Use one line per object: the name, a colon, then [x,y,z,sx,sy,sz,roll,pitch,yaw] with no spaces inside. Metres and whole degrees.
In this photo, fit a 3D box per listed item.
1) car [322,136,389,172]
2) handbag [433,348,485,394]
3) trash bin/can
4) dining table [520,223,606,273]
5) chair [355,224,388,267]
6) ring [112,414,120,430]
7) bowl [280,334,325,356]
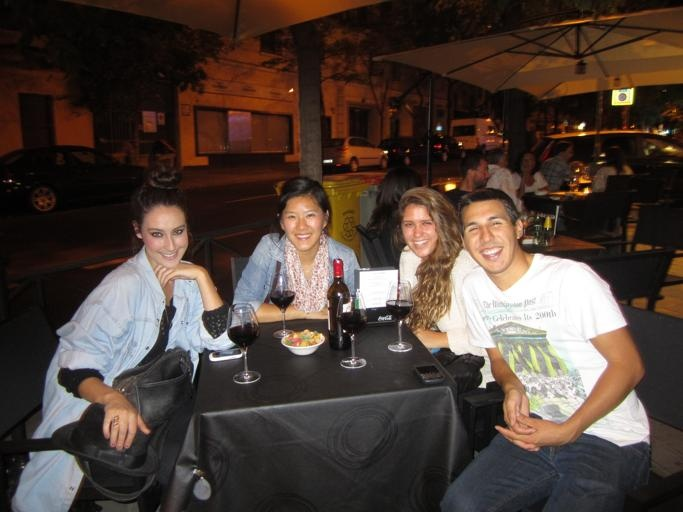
car: [0.533,-4.427,20.625,1.331,1.128,2.714,13,20,42]
handbag: [0.727,0.683,2.931,0.247,0.101,0.245,-7,12,-23]
trash bin/can: [-0.295,-0.710,7.534,1.213,1.980,1.064,-5,19,-12]
dining table: [2.368,-0.110,5.072,0.748,0.197,0.786,-12,19,-34]
chair: [0.290,-0.099,4.655,0.385,0.321,0.327,5,19,17]
ring: [-1.131,0.827,2.412,0.036,0.050,0.019,4,-14,-12]
bowl: [-0.219,0.519,2.775,0.142,0.054,0.139,-3,9,1]
